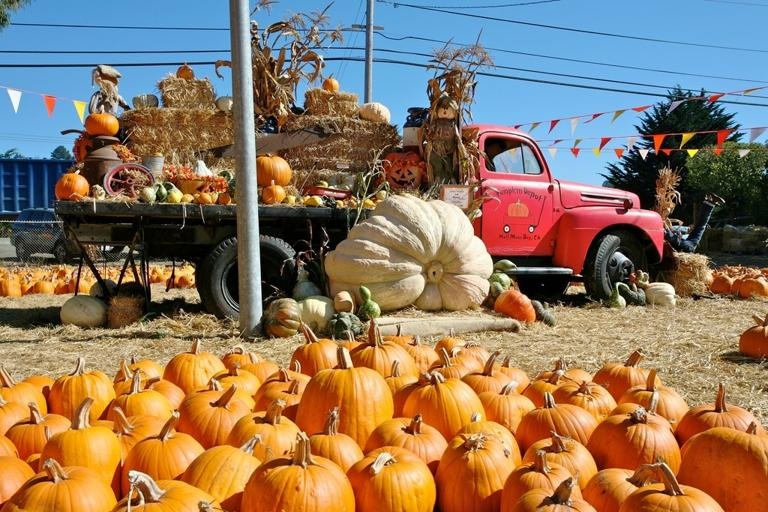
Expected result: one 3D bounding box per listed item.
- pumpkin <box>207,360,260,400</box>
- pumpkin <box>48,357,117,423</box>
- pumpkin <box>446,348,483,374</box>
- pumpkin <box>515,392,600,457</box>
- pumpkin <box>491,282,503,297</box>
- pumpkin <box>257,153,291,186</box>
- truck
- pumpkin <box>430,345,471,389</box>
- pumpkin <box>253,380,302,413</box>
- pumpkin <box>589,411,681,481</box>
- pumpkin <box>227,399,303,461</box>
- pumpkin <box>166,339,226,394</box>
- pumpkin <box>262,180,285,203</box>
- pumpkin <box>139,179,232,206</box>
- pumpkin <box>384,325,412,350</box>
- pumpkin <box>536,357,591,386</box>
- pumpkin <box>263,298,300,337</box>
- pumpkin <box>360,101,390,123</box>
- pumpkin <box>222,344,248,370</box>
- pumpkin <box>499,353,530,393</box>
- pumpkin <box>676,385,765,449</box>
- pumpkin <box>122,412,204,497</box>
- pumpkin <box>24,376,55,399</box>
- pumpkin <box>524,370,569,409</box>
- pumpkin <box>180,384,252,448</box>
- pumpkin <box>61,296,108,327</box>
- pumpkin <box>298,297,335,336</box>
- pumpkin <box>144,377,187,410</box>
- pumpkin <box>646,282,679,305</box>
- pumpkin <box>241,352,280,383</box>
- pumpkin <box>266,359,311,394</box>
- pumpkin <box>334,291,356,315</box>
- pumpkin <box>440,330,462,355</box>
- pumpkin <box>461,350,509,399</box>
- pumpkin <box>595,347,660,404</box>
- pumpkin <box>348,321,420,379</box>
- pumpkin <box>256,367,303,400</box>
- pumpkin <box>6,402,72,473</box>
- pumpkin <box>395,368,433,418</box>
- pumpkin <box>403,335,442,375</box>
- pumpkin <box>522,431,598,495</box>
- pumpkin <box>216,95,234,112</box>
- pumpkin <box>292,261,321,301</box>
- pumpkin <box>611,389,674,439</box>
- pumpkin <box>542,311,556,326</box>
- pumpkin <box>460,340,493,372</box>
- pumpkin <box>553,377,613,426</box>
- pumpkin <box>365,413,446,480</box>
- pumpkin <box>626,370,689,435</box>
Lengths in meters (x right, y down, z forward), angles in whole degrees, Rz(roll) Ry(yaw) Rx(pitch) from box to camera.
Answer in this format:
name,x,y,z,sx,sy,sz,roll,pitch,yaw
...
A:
name,x,y,z,sx,sy,sz,roll,pitch,yaw
pumpkin,-1.290,1.074,7.019,0.291,0.305,0.299,7,-1,-25
pumpkin,-2.571,1.167,6.905,0.539,0.688,0.517,3,-13,-22
pumpkin,0.729,0.965,7.296,0.205,0.229,0.214,0,11,-14
pumpkin,1.383,1.329,6.491,0.485,0.540,0.512,-6,-2,-6
pumpkin,1.417,0.436,10.227,0.162,0.101,0.129,17,-23,-25
pumpkin,-1.493,-1.155,10.966,0.401,0.406,0.424,-10,0,19
truck,0.255,-0.395,11.875,9.117,3.254,2.933,-1,2,-15
pumpkin,0.576,0.981,7.054,0.275,0.292,0.279,-5,6,-29
pumpkin,-0.894,1.143,6.726,0.271,0.293,0.282,0,0,36
pumpkin,1.996,1.463,6.336,0.523,0.528,0.524,5,2,-36
pumpkin,-0.919,1.342,6.380,0.448,0.514,0.471,3,-6,21
pumpkin,-1.692,0.966,7.232,0.459,0.509,0.472,-4,-6,39
pumpkin,-1.465,-0.843,10.536,0.246,0.282,0.256,-9,11,-31
pumpkin,-2.505,-0.791,10.153,0.703,0.275,0.594,-4,3,2
pumpkin,0.131,0.827,7.853,0.162,0.161,0.162,-5,-8,43
pumpkin,1.592,1.054,7.041,0.295,0.297,0.307,-2,-5,-8
pumpkin,-1.173,0.726,9.193,0.430,0.406,0.315,1,9,-10
pumpkin,-0.159,-2.294,12.902,0.479,0.316,0.512,2,9,-7
pumpkin,-1.371,0.925,7.311,0.209,0.218,0.282,26,-15,0
pumpkin,1.161,1.063,7.234,0.284,0.426,0.301,-2,-3,43
pumpkin,2.722,1.346,6.590,0.523,0.539,0.551,-3,-4,23
pumpkin,-1.739,1.513,6.287,0.562,0.828,0.587,-10,-12,23
pumpkin,-3.009,1.144,7.015,0.218,0.227,0.224,-3,-7,39
pumpkin,1.393,1.107,6.876,0.283,0.453,0.315,5,0,25
pumpkin,-1.364,1.302,6.527,0.492,0.516,0.484,8,3,-38
pumpkin,-3.674,0.692,9.761,0.344,0.284,0.455,9,6,1
pumpkin,-0.816,0.641,9.418,0.378,0.410,0.389,15,-49,-21
pumpkin,-1.873,1.169,6.915,0.269,0.284,0.289,7,-23,9
pumpkin,3.996,0.534,11.598,0.332,0.359,0.338,18,-8,-23
pumpkin,-1.149,1.094,7.352,0.253,0.283,0.261,0,31,-17
pumpkin,-0.835,1.039,6.934,0.262,0.272,0.269,6,-4,-33
pumpkin,-0.450,0.566,9.440,0.214,0.241,0.226,-7,-16,24
pumpkin,0.666,0.849,7.757,0.211,0.290,0.209,1,-5,-25
pumpkin,0.900,1.010,6.983,0.352,0.405,0.375,1,-1,32
pumpkin,2.211,1.086,7.319,0.422,0.574,0.447,19,-4,23
pumpkin,-0.010,0.869,7.304,0.512,0.543,0.542,-1,-3,-22
pumpkin,-0.874,1.091,6.863,0.276,0.301,0.300,0,-10,12
pumpkin,-2.772,1.437,6.505,0.459,0.502,0.465,-12,-1,45
pumpkin,0.225,1.190,6.797,0.321,0.343,0.344,5,-18,-1
pumpkin,0.377,0.933,7.476,0.286,0.316,0.292,-14,-16,41
pumpkin,1.354,1.518,6.167,0.431,0.484,0.454,-1,1,27
pumpkin,-2.559,-2.402,12.712,0.222,0.252,0.716,1,10,-14
pumpkin,-0.936,0.318,9.734,0.347,0.398,0.669,2,9,-6
pumpkin,2.071,1.247,6.550,0.373,0.534,0.376,8,-6,-2
pumpkin,2.054,0.794,9.980,0.158,0.143,0.229,6,10,18
pumpkin,0.871,0.951,7.601,0.225,0.234,0.241,1,10,5
pumpkin,1.681,1.201,6.719,0.336,0.358,0.358,7,3,13
pumpkin,0.169,1.488,6.351,0.469,0.480,0.479,-4,-12,44
pumpkin,2.318,1.217,6.774,0.473,0.533,0.495,0,-1,22
